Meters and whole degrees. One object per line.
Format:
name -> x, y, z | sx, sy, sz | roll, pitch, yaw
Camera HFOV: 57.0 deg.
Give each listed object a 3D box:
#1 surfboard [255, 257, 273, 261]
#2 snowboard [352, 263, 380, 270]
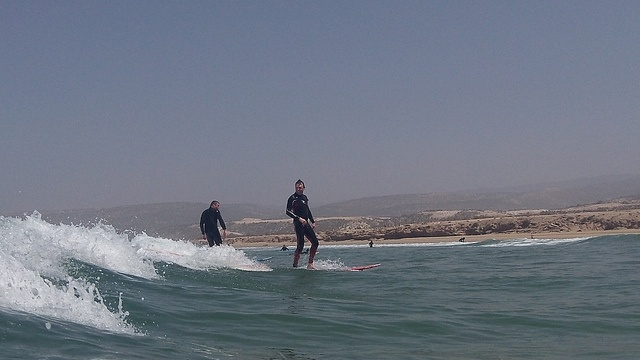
surfboard -> -3.018, 4.318, 32.414 | 0.805, 0.222, 0.747 | 3, 0, -13
snowboard -> 1.930, 3.572, 24.652 | 0.343, 0.188, 1.914 | 1, 0, 39
